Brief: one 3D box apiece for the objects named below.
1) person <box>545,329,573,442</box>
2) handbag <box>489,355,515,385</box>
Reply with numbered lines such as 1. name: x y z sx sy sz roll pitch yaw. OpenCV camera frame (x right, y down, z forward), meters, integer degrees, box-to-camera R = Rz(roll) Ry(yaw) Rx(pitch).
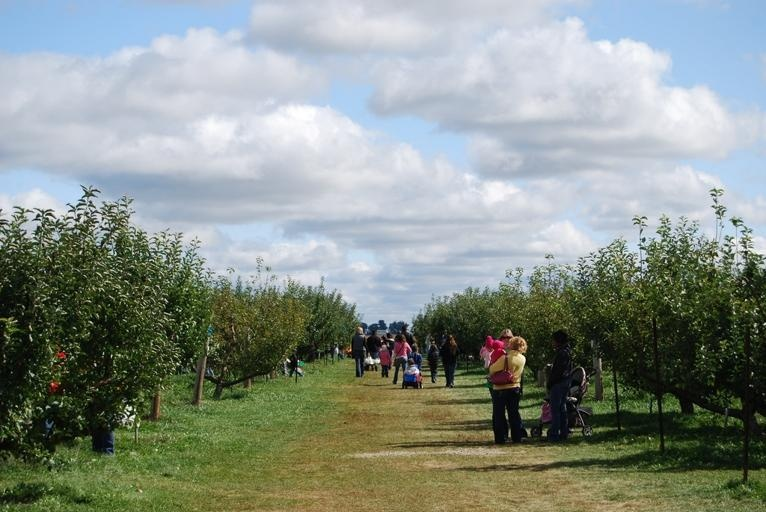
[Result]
1. person: 4.658 3.397 24.782 0.610 2.688 0.839 0 0 10
2. handbag: 3.144 2.973 24.588 0.644 0.845 0.238 4 13 24
